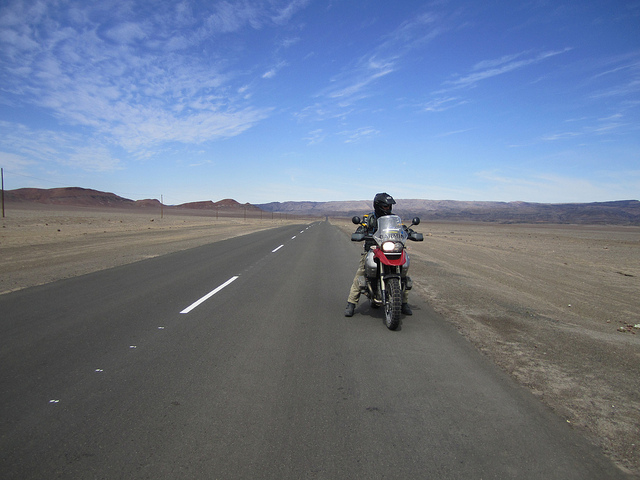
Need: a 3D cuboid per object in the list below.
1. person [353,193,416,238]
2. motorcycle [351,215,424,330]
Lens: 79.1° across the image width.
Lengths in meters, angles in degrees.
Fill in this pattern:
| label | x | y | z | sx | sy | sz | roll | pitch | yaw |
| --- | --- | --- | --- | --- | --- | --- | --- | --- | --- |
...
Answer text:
| label | x | y | z | sx | sy | sz | roll | pitch | yaw |
| --- | --- | --- | --- | --- | --- | --- | --- | --- | --- |
| person | 1.301 | -0.558 | 7.769 | 1.078 | 0.731 | 1.368 | -5 | -3 | -30 |
| motorcycle | 1.213 | 0.562 | 7.355 | 1.242 | 2.099 | 1.625 | 2 | 12 | 4 |
